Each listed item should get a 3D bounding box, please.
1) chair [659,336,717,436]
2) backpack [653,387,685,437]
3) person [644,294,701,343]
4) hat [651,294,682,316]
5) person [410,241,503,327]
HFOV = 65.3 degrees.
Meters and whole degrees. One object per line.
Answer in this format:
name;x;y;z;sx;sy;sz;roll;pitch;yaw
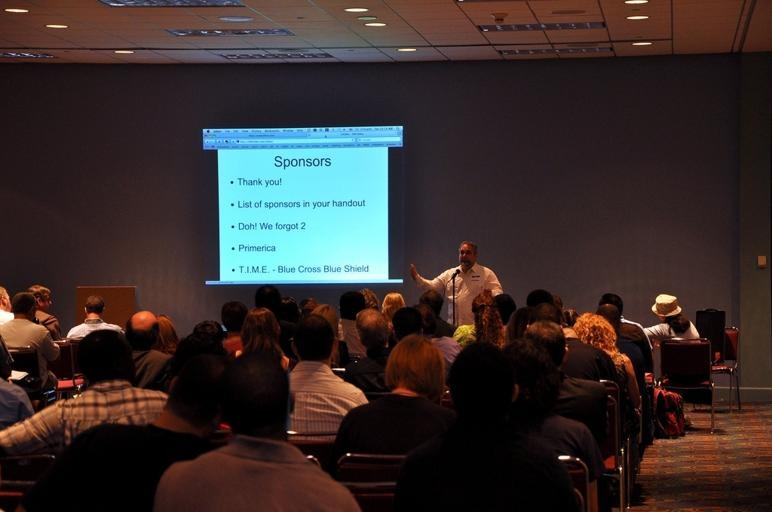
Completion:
chair;3.727;1.543;7.690;0.914;1.260;0.894;1;-27;24
backpack;3.694;1.983;7.758;0.330;0.587;0.633;-14;-15;42
person;4.049;0.933;8.736;0.720;0.412;1.006;-6;16;-2
hat;4.088;0.739;8.857;0.361;0.179;0.483;-23;16;-16
person;1.202;0.888;9.448;1.310;2.044;0.701;-1;-6;21
